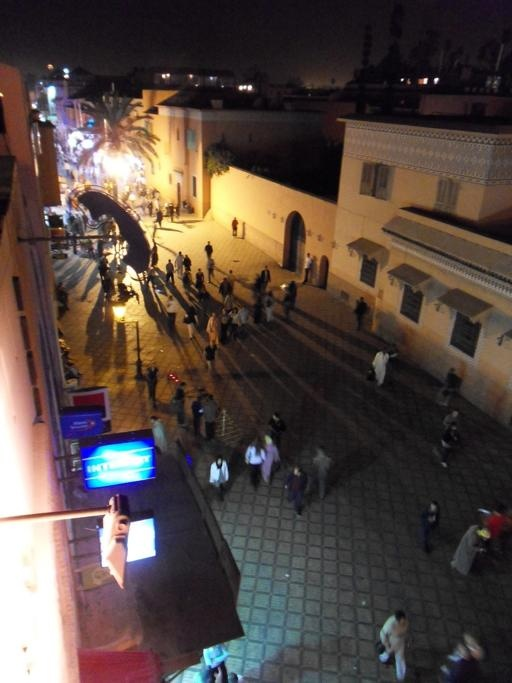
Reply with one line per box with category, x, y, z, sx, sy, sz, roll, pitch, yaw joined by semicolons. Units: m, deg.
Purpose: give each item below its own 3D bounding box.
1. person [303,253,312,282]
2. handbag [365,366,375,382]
person;2.496;-3.465;22.052;0.438;1.352;0.524;21;30;35
handbag;3.602;1.058;14.440;0.238;0.546;0.240;-22;63;-2
